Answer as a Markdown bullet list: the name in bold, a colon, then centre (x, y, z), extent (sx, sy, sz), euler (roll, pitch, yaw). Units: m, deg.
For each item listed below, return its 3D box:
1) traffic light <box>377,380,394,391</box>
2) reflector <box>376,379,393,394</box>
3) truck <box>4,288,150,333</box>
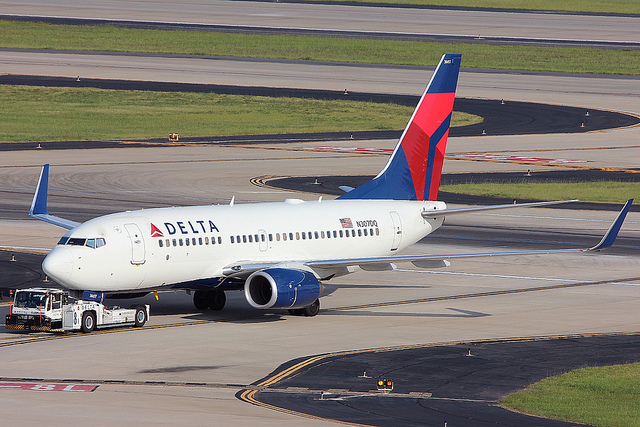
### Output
- **traffic light**: centre (3.611, 8.679, 60.501), extent (1.218, 0.402, 0.624), euler (0, -4, 6)
- **reflector**: centre (3.601, 8.758, 60.566), extent (1.293, 0.627, 0.742), euler (0, -3, 5)
- **truck**: centre (-13.109, 5.492, 67.888), extent (4.121, 1.168, 5.459), euler (-1, -1, 43)
